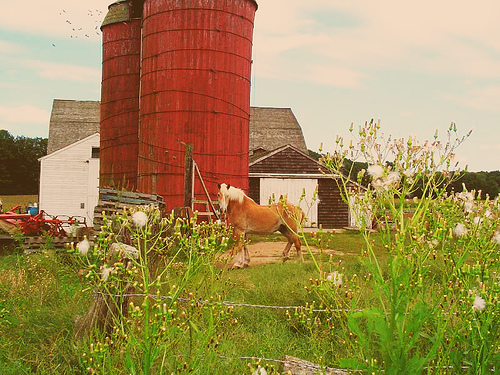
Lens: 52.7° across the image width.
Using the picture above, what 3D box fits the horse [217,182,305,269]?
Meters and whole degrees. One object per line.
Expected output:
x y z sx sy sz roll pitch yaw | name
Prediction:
0.315 1.047 13.514 2.633 2.063 0.773 4 -7 -6 | horse
